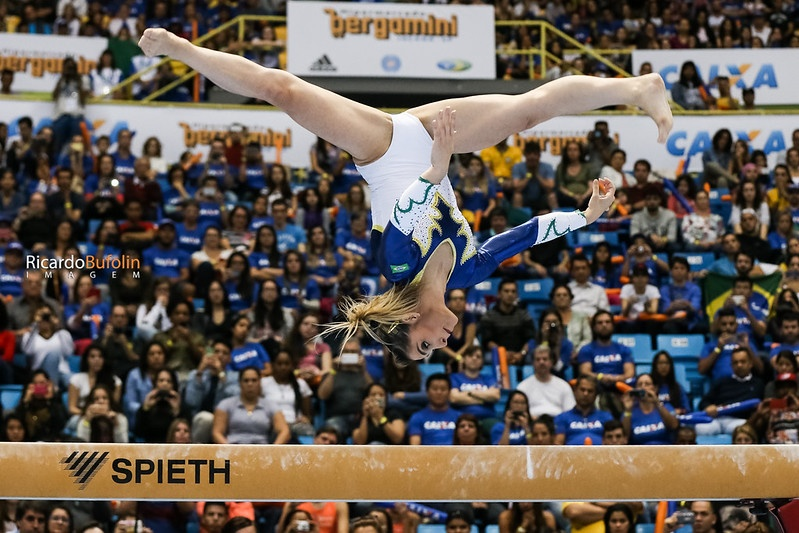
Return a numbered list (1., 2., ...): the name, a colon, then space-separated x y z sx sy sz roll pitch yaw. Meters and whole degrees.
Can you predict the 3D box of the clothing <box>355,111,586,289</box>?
1. clothing: 0.666 -0.528 16.541 1.157 1.778 2.220 -36 43 17
